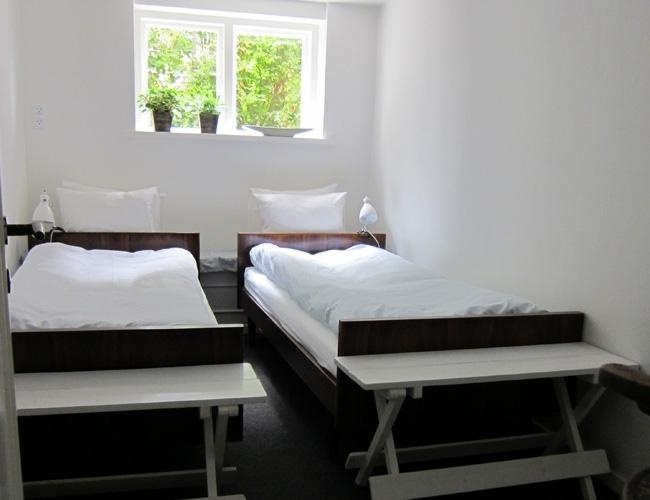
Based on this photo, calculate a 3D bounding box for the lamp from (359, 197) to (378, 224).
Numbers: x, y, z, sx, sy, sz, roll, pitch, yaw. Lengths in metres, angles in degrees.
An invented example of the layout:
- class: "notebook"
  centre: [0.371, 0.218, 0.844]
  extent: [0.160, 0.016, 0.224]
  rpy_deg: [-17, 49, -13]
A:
- class: "lamp"
  centre: [0.363, -0.305, 4.170]
  extent: [0.127, 0.273, 0.478]
  rpy_deg: [0, 11, 7]

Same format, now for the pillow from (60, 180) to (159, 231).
- class: "pillow"
  centre: [-1.587, -0.287, 3.806]
  extent: [0.669, 0.426, 0.219]
  rpy_deg: [0, -9, -27]

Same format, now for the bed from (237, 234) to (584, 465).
- class: "bed"
  centre: [0.245, 0.365, 2.739]
  extent: [0.814, 0.557, 1.245]
  rpy_deg: [-1, 10, -18]

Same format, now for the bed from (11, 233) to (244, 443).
- class: "bed"
  centre: [-0.963, 0.218, 2.388]
  extent: [0.722, 0.449, 1.161]
  rpy_deg: [-2, 14, -13]

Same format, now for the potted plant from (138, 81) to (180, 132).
- class: "potted plant"
  centre: [-1.293, -1.133, 4.140]
  extent: [0.288, 0.331, 0.269]
  rpy_deg: [1, 8, -5]

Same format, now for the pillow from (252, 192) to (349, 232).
- class: "pillow"
  centre: [-0.189, -0.302, 4.068]
  extent: [0.736, 0.318, 0.300]
  rpy_deg: [-4, 11, -9]
